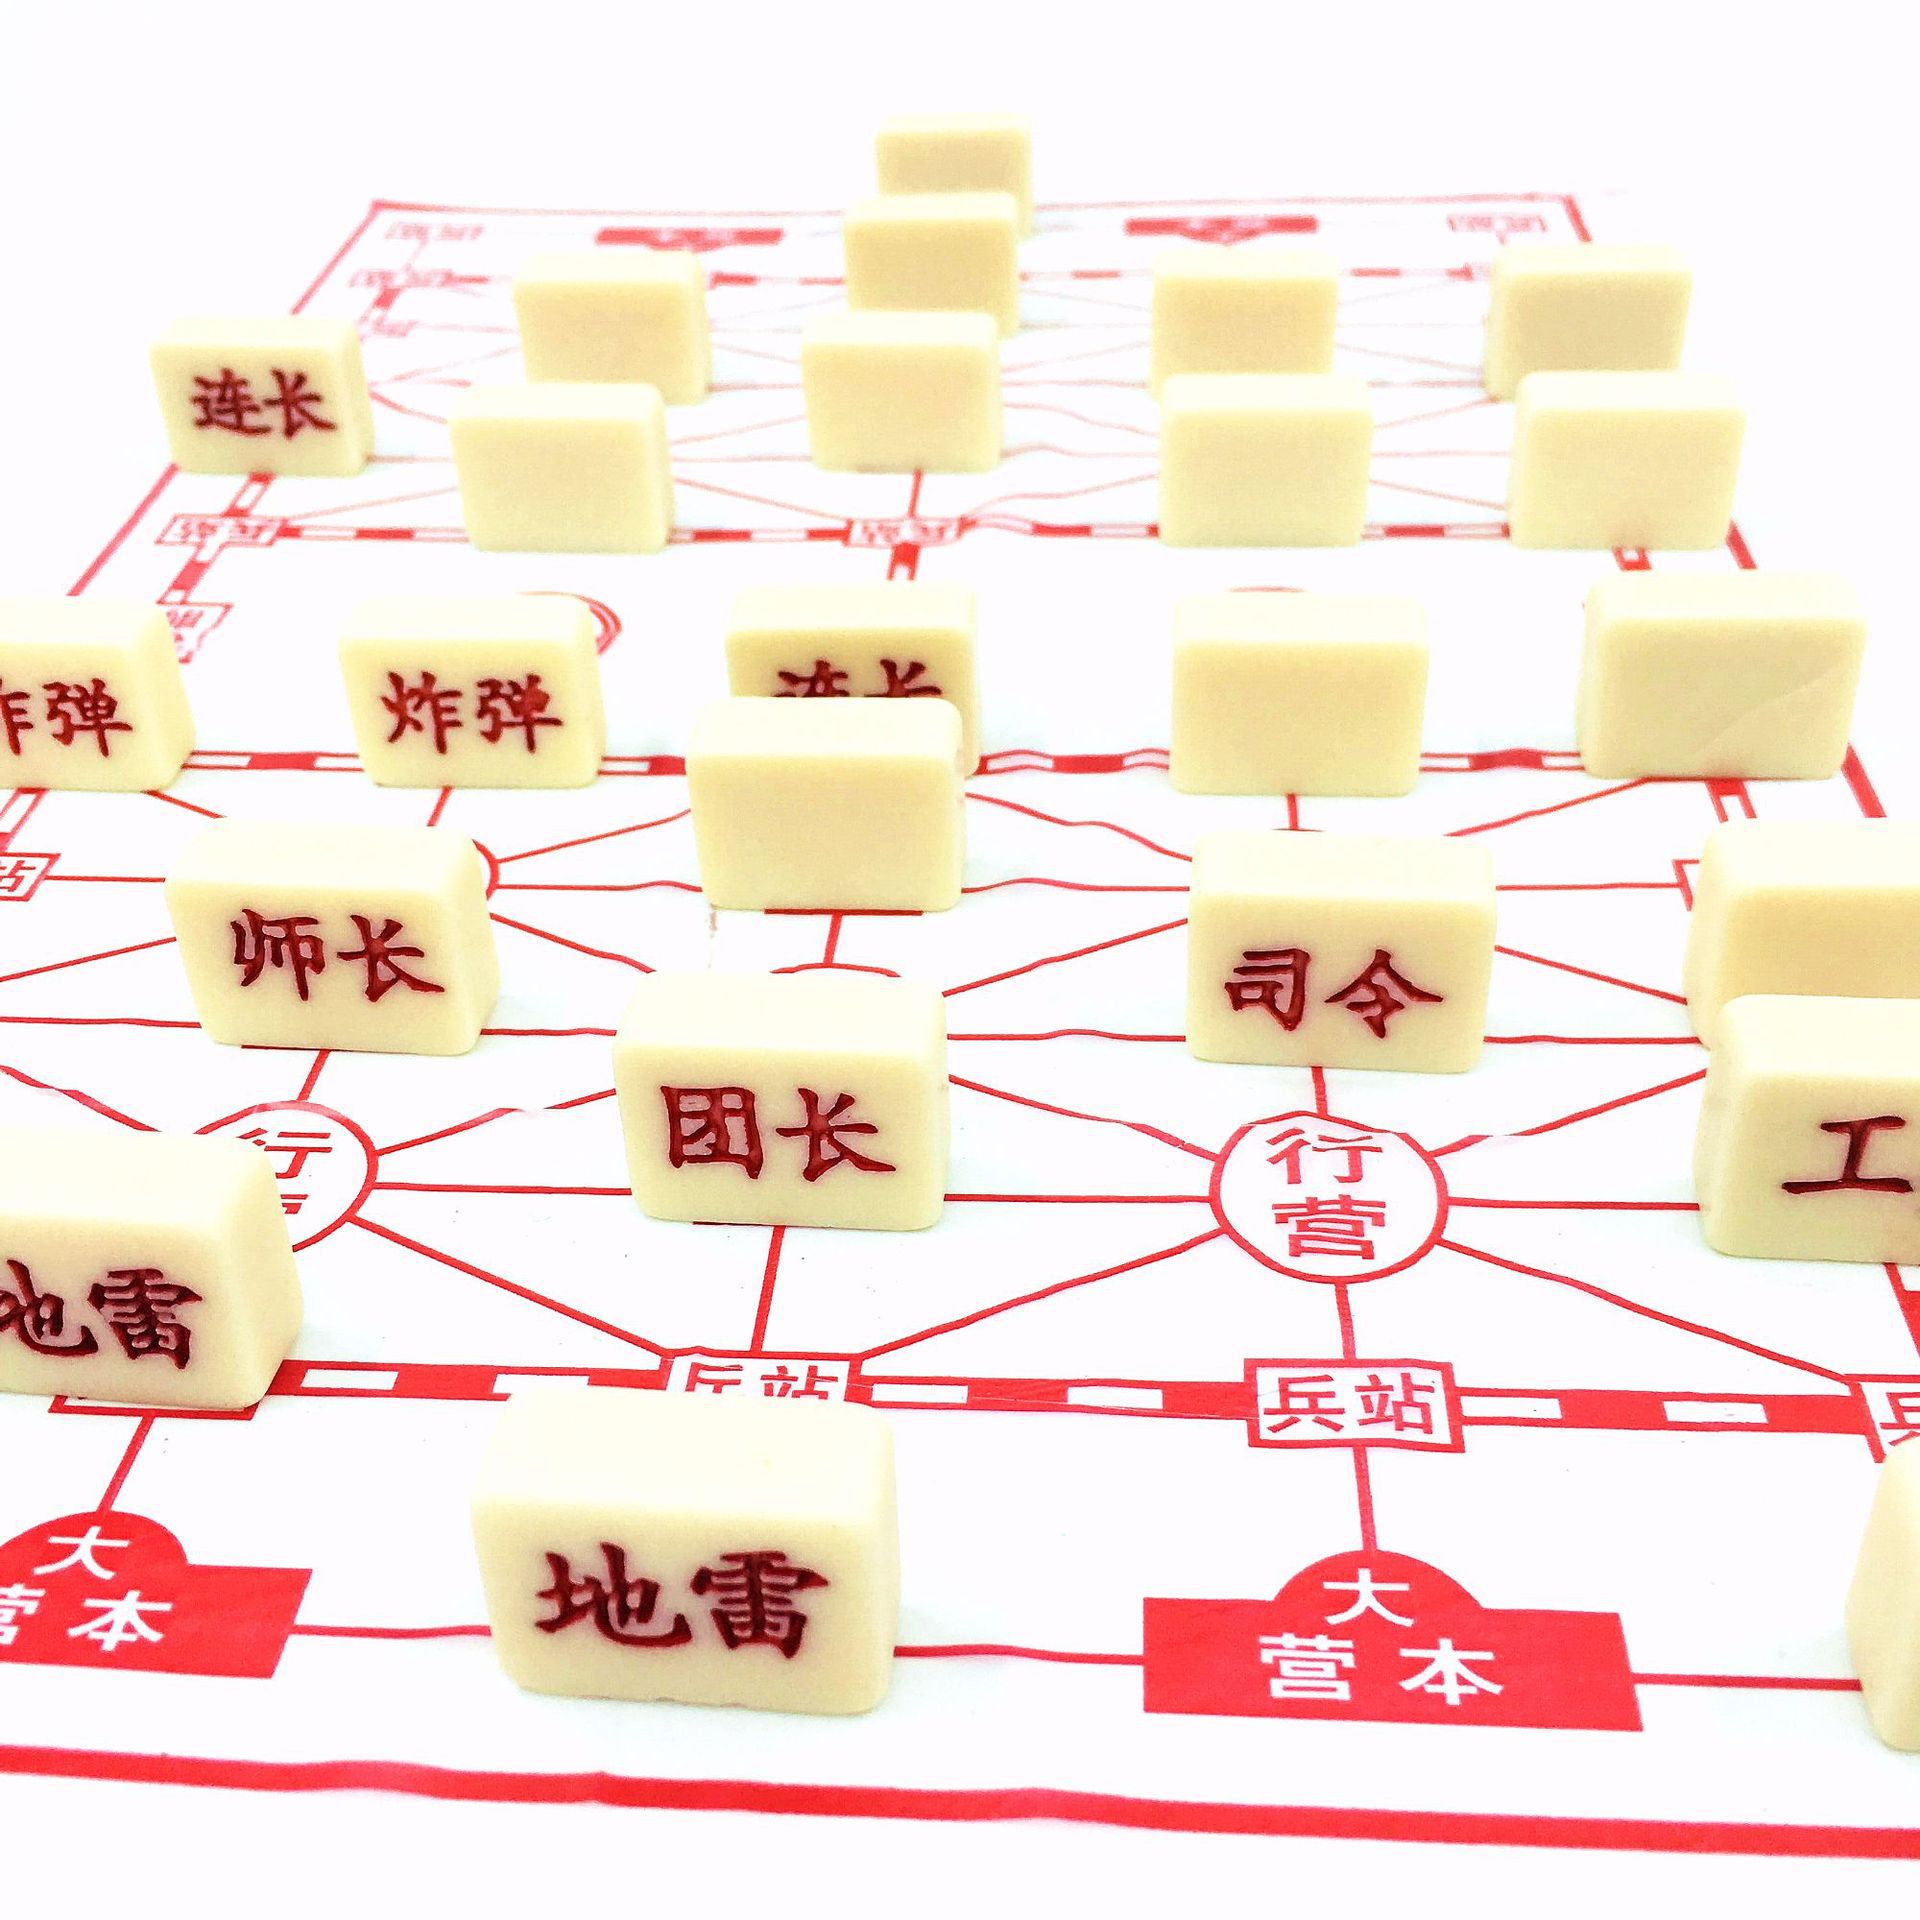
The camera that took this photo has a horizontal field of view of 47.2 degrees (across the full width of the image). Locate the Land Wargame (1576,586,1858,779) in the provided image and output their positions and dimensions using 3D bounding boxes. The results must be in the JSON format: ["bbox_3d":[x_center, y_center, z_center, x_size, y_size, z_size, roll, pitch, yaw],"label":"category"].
[{"bbox_3d":[0.956,-0.360,3.014,0.474,0.216,0.232,-4,12,-30],"label":"Land Wargame"}]

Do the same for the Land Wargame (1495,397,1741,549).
[{"bbox_3d":[0.979,-0.777,3.546,0.488,0.230,0.230,-8,20,-29],"label":"Land Wargame"}]

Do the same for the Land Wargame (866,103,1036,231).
[{"bbox_3d":[0.042,-1.636,4.631,0.403,0.201,0.215,12,10,34],"label":"Land Wargame"}]

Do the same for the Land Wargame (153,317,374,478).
[{"bbox_3d":[-1.337,-0.965,3.888,0.246,0.222,0.413,5,13,29],"label":"Land Wargame"}]

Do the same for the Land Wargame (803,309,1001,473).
[{"bbox_3d":[-0.016,-0.959,3.803,0.442,0.221,0.262,15,25,42],"label":"Land Wargame"}]
